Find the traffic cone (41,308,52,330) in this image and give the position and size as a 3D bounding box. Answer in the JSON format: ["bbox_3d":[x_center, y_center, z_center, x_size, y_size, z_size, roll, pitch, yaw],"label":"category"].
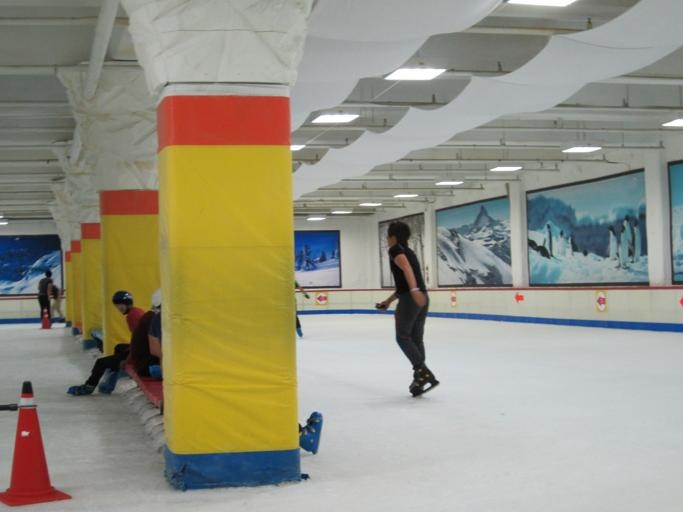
[{"bbox_3d":[-10.255,2.196,24.470,0.296,0.666,0.690,-1,0,-24],"label":"traffic cone"}]

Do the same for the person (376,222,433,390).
[{"bbox_3d":[0.776,0.562,8.287,0.858,1.853,0.634,0,0,-5],"label":"person"}]

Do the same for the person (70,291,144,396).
[{"bbox_3d":[-3.050,1.243,9.367,0.823,1.551,0.902,4,1,-31],"label":"person"}]

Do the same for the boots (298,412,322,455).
[{"bbox_3d":[-0.241,1.471,5.960,0.143,0.406,0.162,-11,-43,31],"label":"boots"}]
